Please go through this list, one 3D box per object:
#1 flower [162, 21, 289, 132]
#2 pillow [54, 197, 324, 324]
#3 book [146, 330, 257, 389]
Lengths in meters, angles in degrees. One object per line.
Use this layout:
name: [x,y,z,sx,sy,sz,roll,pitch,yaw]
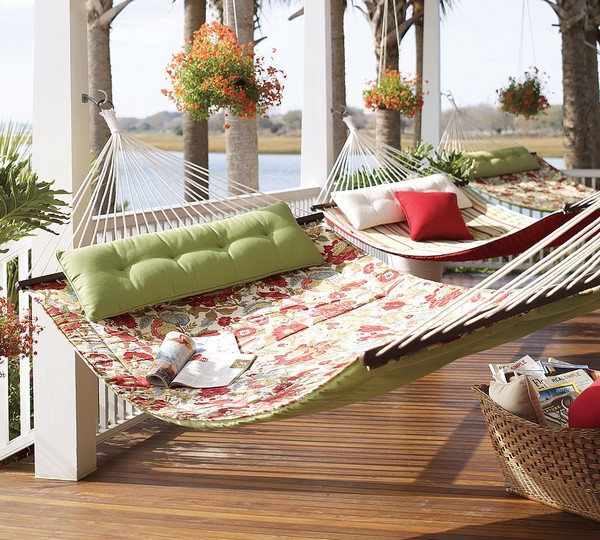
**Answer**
flower: [-0.523,-1.341,4.521,0.894,0.661,0.450,1,9,15]
pillow: [-0.471,-0.079,3.111,1.168,0.287,0.111,-15,9,-34]
book: [-0.364,0.337,2.686,0.353,0.174,0.487,-1,6,4]
